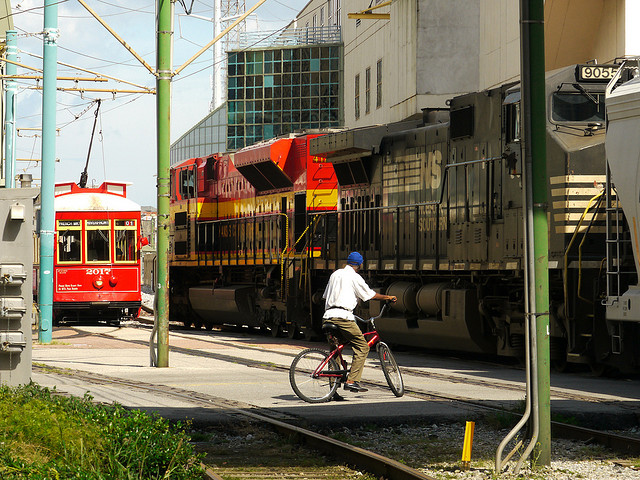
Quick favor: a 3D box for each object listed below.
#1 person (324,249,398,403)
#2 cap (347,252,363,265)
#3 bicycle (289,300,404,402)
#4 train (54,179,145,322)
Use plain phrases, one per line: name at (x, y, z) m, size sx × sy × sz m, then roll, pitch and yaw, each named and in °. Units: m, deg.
person at (0.553, 1.263, 14.186) m, size 1.059 × 2.319 × 0.854 m, roll 10°, pitch 12°, yaw 44°
cap at (0.528, 0.273, 14.276) m, size 0.215 × 0.198 × 0.421 m, roll -1°, pitch -4°, yaw 1°
bicycle at (0.283, 1.832, 14.487) m, size 1.917 × 1.568 × 0.999 m, roll -1°, pitch -6°, yaw -25°
train at (-7.608, 0.596, 33.376) m, size 3.387 × 5.738 × 11.119 m, roll 0°, pitch -3°, yaw -14°
